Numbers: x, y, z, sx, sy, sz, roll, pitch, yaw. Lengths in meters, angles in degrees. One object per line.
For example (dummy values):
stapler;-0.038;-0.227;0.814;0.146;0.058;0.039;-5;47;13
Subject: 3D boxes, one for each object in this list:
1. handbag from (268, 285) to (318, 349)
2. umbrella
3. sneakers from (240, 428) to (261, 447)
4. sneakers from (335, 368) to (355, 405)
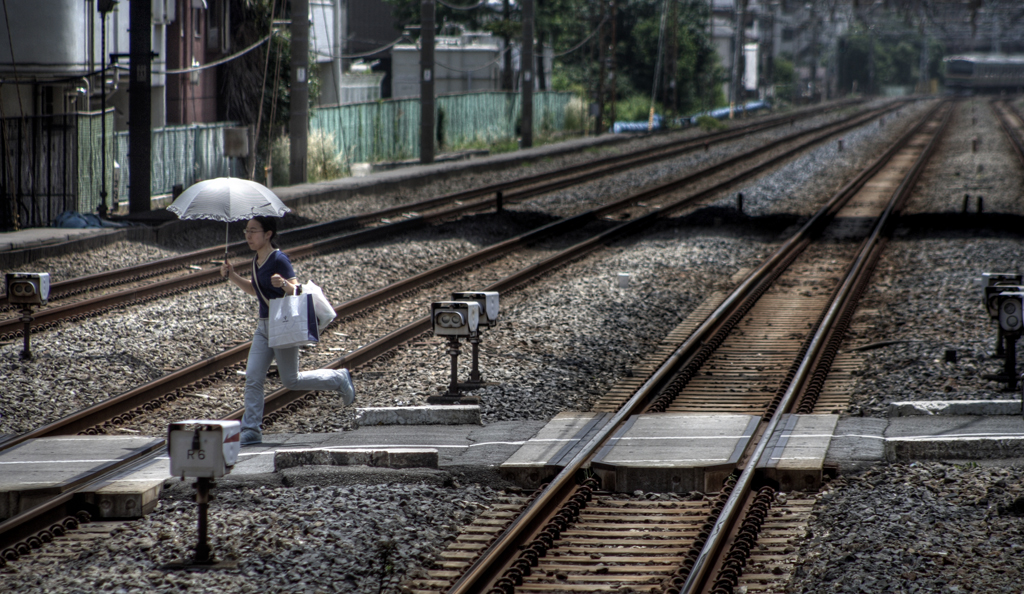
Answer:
handbag;-2.846;0.266;15.858;0.643;1.045;0.411;-1;-3;1
umbrella;-3.998;-1.121;16.851;1.579;0.854;1.624;-1;13;-30
sneakers;-3.449;1.890;16.274;0.320;0.254;0.135;2;1;-8
sneakers;-2.266;1.253;16.730;0.167;0.529;0.193;-3;13;43
